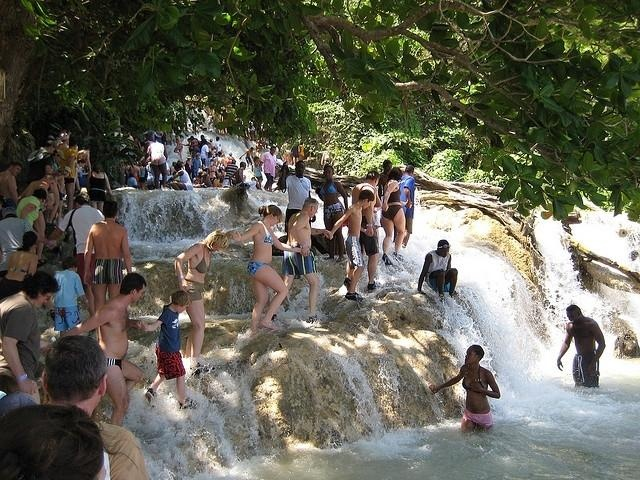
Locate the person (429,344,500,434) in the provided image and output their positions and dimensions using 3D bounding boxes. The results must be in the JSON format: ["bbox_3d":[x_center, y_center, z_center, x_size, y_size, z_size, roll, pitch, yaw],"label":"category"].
[{"bbox_3d":[2.291,2.247,7.718,0.922,1.292,0.514,1,-4,29],"label":"person"}]

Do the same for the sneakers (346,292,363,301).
[{"bbox_3d":[0.658,1.081,9.800,0.271,0.140,0.152,-2,3,5],"label":"sneakers"}]

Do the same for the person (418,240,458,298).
[{"bbox_3d":[2.474,0.590,10.424,1.057,1.302,0.702,-3,8,-17],"label":"person"}]

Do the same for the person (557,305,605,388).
[{"bbox_3d":[5.081,2.058,9.821,0.792,1.574,0.849,1,-5,28],"label":"person"}]

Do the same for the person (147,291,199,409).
[{"bbox_3d":[-2.005,1.566,6.912,0.803,1.792,1.018,1,19,-12],"label":"person"}]

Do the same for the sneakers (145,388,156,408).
[{"bbox_3d":[-2.288,2.112,6.770,0.090,0.130,0.289,24,-32,30],"label":"sneakers"}]
